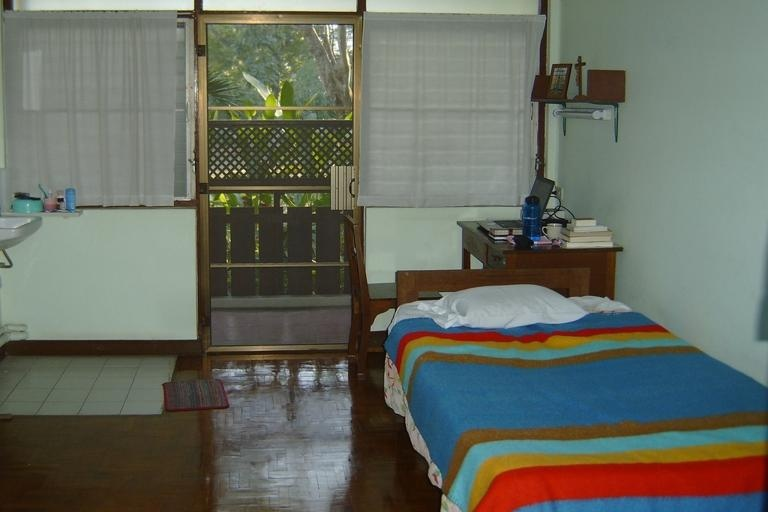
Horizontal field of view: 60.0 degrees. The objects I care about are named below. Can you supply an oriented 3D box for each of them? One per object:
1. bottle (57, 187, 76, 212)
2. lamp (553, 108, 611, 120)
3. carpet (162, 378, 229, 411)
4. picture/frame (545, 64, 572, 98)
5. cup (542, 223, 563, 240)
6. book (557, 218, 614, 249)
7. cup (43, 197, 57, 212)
[{"bbox_3d":[-2.233,-0.400,4.687,0.098,0.157,0.215,-10,15,-34],"label":"bottle"},{"bbox_3d":[1.364,-1.011,4.765,0.098,0.074,0.666,-3,6,-21],"label":"lamp"},{"bbox_3d":[-1.258,0.910,4.404,0.401,0.044,0.537,-5,12,-18],"label":"carpet"},{"bbox_3d":[1.236,-1.254,4.757,0.115,0.255,0.257,-7,13,-21],"label":"picture/frame"},{"bbox_3d":[1.152,-0.174,4.559,0.108,0.119,0.131,-4,9,-14],"label":"cup"},{"bbox_3d":[1.362,-0.145,4.536,0.251,0.144,0.240,0,6,4],"label":"book"},{"bbox_3d":[-2.335,-0.363,4.644,0.107,0.098,0.103,0,2,0],"label":"cup"}]
